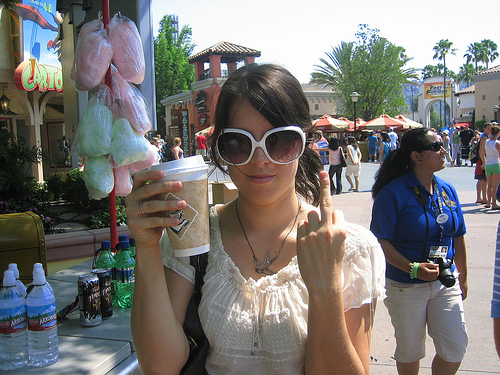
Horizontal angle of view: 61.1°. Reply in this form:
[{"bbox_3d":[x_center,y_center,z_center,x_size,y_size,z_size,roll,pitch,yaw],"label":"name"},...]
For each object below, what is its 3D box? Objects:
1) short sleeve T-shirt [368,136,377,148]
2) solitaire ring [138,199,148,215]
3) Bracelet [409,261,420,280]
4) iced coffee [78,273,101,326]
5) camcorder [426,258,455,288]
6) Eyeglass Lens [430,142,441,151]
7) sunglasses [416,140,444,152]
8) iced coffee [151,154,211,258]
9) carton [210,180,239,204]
[{"bbox_3d":[7.796,-2.900,26.919,0.817,0.856,0.471,-1,6,9],"label":"short sleeve T-shirt"},{"bbox_3d":[-0.530,0.097,2.068,0.026,0.063,0.052,-3,2,-16],"label":"solitaire ring"},{"bbox_3d":[1.445,0.736,3.717,0.048,0.100,0.116,14,46,8],"label":"Bracelet"},{"bbox_3d":[-1.149,0.813,3.026,0.138,0.267,0.074,-4,3,-27],"label":"iced coffee"},{"bbox_3d":[1.669,0.710,3.642,0.213,0.243,0.150,15,-47,-20],"label":"camcorder"},{"bbox_3d":[1.820,-0.399,4.131,0.107,0.114,0.043,4,7,-45],"label":"Eyeglass Lens"},{"bbox_3d":[1.762,-0.391,4.134,0.160,0.052,0.144,-11,1,32],"label":"sunglasses"},{"bbox_3d":[-0.293,0.081,2.189,0.285,0.497,0.317,0,3,24],"label":"iced coffee"},{"bbox_3d":[-0.469,0.089,8.329,0.414,0.586,0.582,-1,1,-18],"label":"carton"}]
